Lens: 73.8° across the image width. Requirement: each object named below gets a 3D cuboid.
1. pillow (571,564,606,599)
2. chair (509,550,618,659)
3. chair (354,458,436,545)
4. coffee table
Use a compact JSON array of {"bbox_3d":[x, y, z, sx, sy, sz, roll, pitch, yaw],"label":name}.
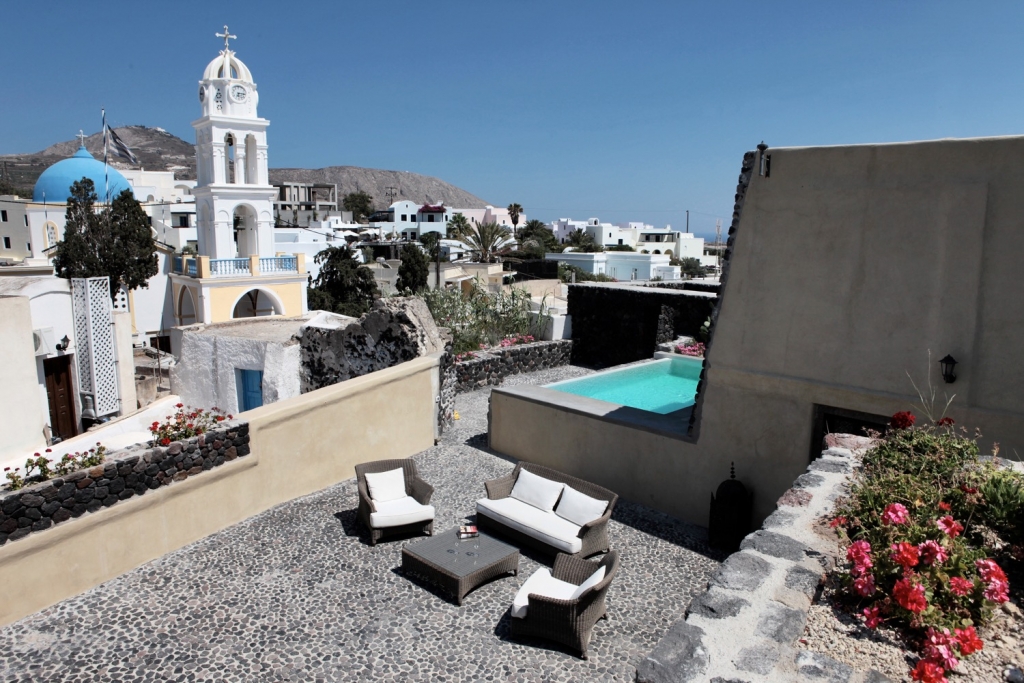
[{"bbox_3d":[1.038,3.244,9.093,0.314,0.148,0.457,10,26,33],"label":"pillow"},{"bbox_3d":[0.607,3.531,9.324,1.355,1.196,1.186,10,23,23],"label":"chair"},{"bbox_3d":[-2.016,2.674,11.476,1.204,1.071,1.272,-3,9,-38],"label":"chair"},{"bbox_3d":[-0.906,3.212,10.085,1.050,0.406,1.003,10,16,42],"label":"coffee table"}]
